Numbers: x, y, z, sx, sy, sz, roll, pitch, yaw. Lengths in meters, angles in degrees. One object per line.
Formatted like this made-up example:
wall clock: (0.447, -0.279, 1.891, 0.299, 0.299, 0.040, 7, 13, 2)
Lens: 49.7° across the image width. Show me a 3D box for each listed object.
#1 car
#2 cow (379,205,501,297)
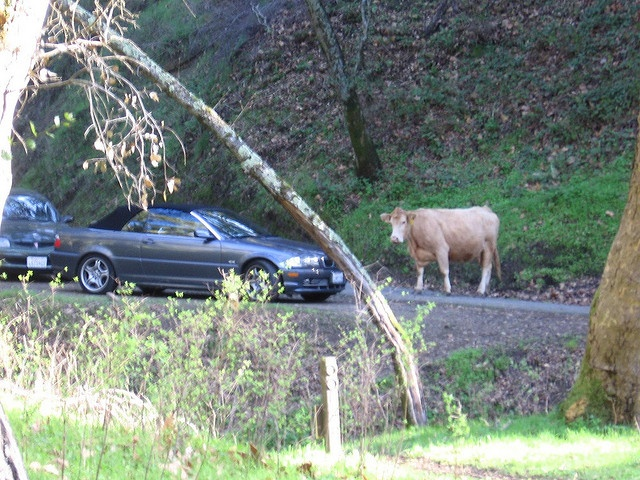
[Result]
car: (-2.693, 0.201, 14.081, 5.735, 1.879, 1.099, -1, -7, 19)
cow: (2.840, 0.169, 15.376, 2.732, 2.092, 0.604, 3, -7, -17)
